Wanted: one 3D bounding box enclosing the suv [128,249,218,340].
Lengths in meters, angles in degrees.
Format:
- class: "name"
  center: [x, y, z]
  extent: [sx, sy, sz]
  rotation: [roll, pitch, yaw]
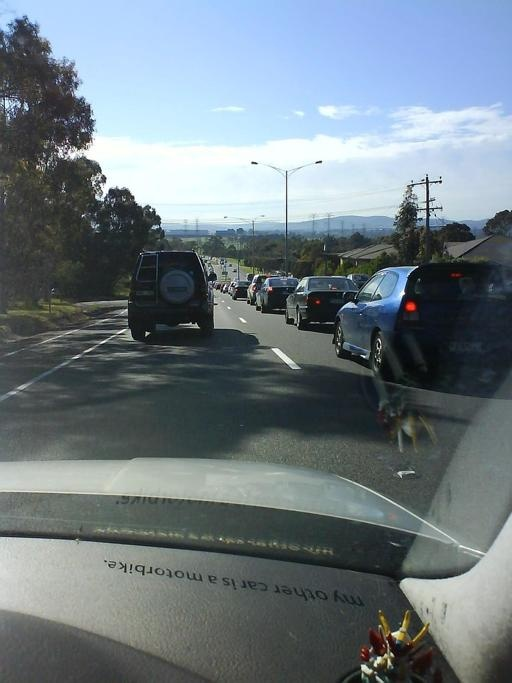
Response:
- class: "suv"
  center: [-2.416, -1.417, 15.578]
  extent: [1.581, 1.627, 3.128]
  rotation: [0, 6, -3]
